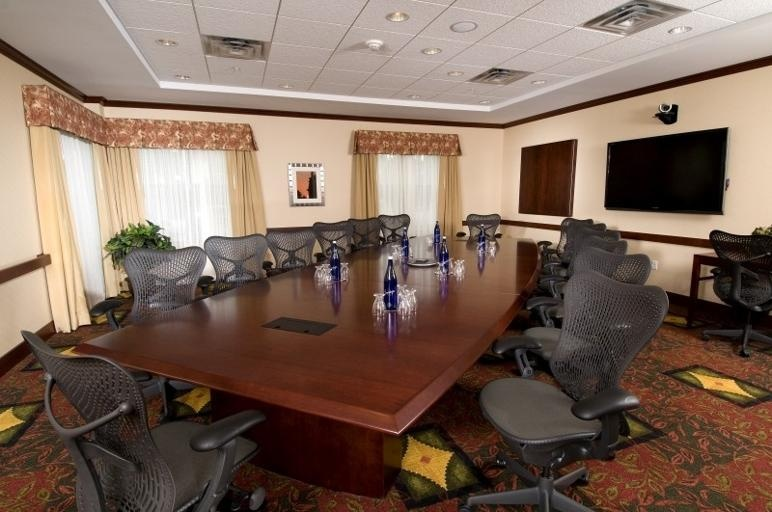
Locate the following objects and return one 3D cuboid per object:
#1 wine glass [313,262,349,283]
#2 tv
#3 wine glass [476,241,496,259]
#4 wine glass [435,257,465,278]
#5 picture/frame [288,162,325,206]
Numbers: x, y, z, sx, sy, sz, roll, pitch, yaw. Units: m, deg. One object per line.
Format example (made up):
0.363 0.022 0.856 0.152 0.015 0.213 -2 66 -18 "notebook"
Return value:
-0.545 0.179 4.659 0.296 0.129 0.219 -1 6 -10 "wine glass"
3.993 -1.193 6.551 0.123 0.955 1.576 -5 8 -35 "tv"
1.301 -0.075 5.967 0.261 0.084 0.258 8 15 38 "wine glass"
0.677 0.121 4.754 0.240 0.135 0.229 0 0 26 "wine glass"
-1.447 -1.297 8.543 0.662 0.762 0.107 -4 14 -17 "picture/frame"
